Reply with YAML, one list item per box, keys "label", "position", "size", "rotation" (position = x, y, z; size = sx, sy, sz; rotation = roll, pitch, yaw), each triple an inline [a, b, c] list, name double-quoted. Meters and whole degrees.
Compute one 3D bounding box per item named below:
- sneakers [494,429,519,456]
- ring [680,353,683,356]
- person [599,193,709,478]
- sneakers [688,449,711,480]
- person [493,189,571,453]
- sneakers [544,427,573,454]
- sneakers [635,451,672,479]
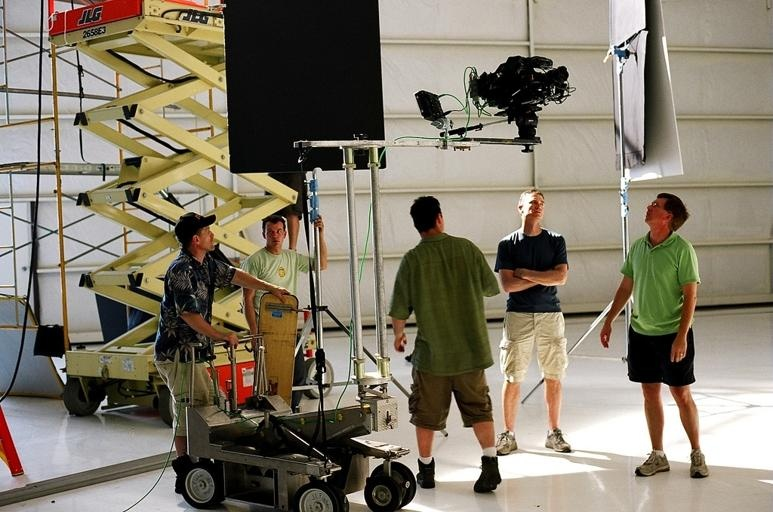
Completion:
- label: "sneakers"
  position: [1.398, 2.189, 12.416]
  size: [0.145, 0.168, 0.386]
  rotation: [-3, -6, 24]
- label: "ring"
  position: [3.218, 1.074, 11.606]
  size: [0.033, 0.021, 0.017]
  rotation: [0, -6, -1]
- label: "person"
  position: [3.059, 0.873, 11.888]
  size: [0.965, 3.140, 0.509]
  rotation: [-1, -2, 15]
- label: "sneakers"
  position: [3.505, 2.294, 11.855]
  size: [0.308, 0.317, 0.151]
  rotation: [1, -3, -39]
- label: "person"
  position: [1.706, 0.769, 12.475]
  size: [0.856, 3.071, 0.535]
  rotation: [-1, -2, 8]
- label: "sneakers"
  position: [2.005, 2.175, 12.550]
  size: [0.179, 0.180, 0.382]
  rotation: [2, -1, -31]
- label: "sneakers"
  position: [2.895, 2.316, 11.870]
  size: [0.507, 0.239, 0.178]
  rotation: [-2, -2, -19]
